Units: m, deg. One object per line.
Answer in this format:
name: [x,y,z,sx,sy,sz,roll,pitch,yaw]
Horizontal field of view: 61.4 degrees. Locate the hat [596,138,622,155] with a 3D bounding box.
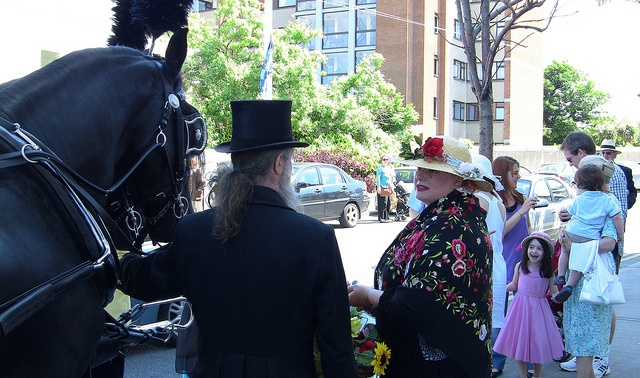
hat: [3.947,-0.609,7.360,0.246,0.099,0.264,-1,-8,33]

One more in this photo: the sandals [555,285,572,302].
sandals: [2.622,1.121,5.726,0.210,0.143,0.062,-30,-53,33]

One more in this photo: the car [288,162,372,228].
car: [0.307,0.099,14.718,1.179,1.013,2.553,-5,-8,37]

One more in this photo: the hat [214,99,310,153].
hat: [-0.399,-0.448,3.811,0.716,0.340,0.656,-4,9,-22]

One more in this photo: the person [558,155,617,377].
person: [2.885,0.846,5.797,0.607,2.284,0.674,1,2,28]

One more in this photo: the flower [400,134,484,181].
flower: [0.952,-0.308,4.337,0.489,0.181,0.523,7,-1,-12]
